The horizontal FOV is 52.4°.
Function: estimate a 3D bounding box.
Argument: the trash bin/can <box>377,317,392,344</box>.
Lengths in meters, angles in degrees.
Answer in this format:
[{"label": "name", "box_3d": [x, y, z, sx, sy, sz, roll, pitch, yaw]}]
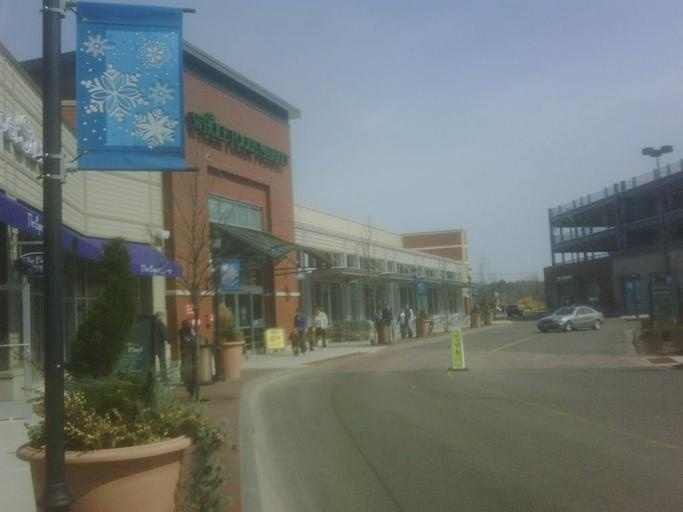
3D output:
[{"label": "trash bin/can", "box_3d": [1.823, 3.423, 30.791, 0.668, 1.109, 0.588, -5, -9, 16]}]

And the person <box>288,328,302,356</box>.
[{"label": "person", "box_3d": [-1.736, 3.252, 26.037, 0.368, 1.066, 0.958, -2, -9, -3]}]
